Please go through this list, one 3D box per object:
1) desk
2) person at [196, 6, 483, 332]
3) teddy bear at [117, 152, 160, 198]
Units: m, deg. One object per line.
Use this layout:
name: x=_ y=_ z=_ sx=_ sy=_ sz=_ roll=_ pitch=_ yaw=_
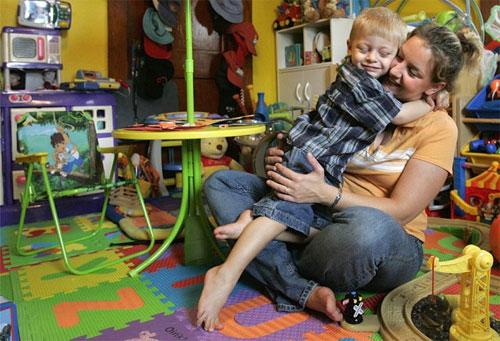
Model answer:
desk: x=-0.271 y=0.087 z=2.167 sx=0.782 sy=0.724 sz=0.762 roll=-7 pitch=9 yaw=-43
person: x=0.347 y=-0.172 z=2.091 sx=1.364 sy=1.455 sz=1.114 roll=3 pitch=20 yaw=-12
teddy bear: x=-0.858 y=0.046 z=3.068 sx=0.331 sy=0.155 sz=0.427 roll=4 pitch=16 yaw=-17
